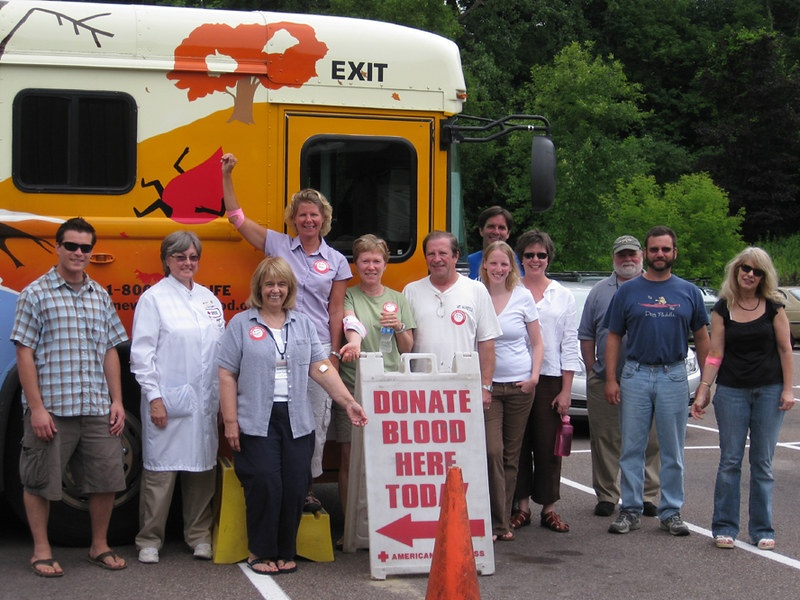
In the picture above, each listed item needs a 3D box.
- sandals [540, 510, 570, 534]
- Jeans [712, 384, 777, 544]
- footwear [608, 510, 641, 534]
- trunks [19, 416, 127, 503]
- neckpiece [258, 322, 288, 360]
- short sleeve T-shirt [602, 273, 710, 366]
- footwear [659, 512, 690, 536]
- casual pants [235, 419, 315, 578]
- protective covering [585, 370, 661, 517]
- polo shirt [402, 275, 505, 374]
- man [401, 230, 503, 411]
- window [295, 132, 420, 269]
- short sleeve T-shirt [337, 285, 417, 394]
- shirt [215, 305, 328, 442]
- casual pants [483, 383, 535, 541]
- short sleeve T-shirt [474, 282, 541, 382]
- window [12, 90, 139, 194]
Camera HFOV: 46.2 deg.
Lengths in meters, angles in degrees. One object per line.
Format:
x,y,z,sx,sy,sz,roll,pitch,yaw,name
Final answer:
1.324,1.851,7.927,0.113,0.110,0.258,-4,-3,-27,sandals
2.785,1.292,7.528,0.529,1.275,0.328,3,4,20,Jeans
1.912,1.854,7.915,0.305,0.137,0.125,5,7,-45,footwear
-2.348,1.114,6.721,0.603,0.731,0.368,5,-15,-38,trunks
-0.855,0.286,6.727,0.171,0.239,0.057,3,-11,-27,neckpiece
2.147,0.172,7.921,0.810,0.677,0.367,0,-4,5,short sleeve T-shirt
2.310,1.868,7.828,0.112,0.128,0.279,-1,-8,-16,footwear
-0.819,1.311,6.794,0.443,0.842,0.281,12,14,23,casual pants
2.125,1.206,8.518,0.722,1.513,0.421,-5,27,-14,protective covering
0.394,0.202,7.275,0.779,0.696,0.330,-2,0,-4,polo shirt
0.407,0.326,7.519,0.897,1.761,0.507,6,24,22,man
-0.218,-0.885,8.080,0.705,1.123,1.235,2,4,6,window
-0.175,0.299,7.107,0.796,0.947,0.365,1,-5,-17,short sleeve T-shirt
-0.934,0.529,6.769,0.975,1.043,0.532,2,-5,-29,shirt
0.929,1.265,7.595,0.391,1.234,0.383,-3,-18,33,casual pants
0.859,0.266,7.540,0.686,0.917,0.384,-3,-15,19,short sleeve T-shirt
-2.492,-1.196,7.096,0.801,0.660,0.060,0,-1,-5,window
